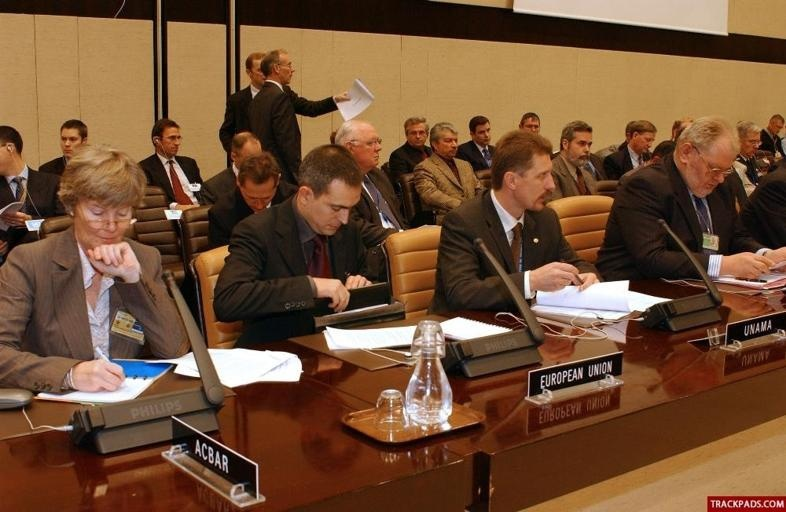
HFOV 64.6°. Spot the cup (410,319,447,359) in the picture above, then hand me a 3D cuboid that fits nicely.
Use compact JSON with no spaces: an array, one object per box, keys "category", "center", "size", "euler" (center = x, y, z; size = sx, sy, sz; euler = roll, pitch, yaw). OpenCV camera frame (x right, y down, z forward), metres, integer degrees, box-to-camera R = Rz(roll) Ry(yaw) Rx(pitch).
[{"category":"cup","center":[0.094,0.230,1.735],"size":[0.096,0.100,0.105],"euler":[0,0,0]}]

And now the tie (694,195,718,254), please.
[{"category":"tie","center":[1.799,-0.180,3.562],"size":[0.215,0.302,0.077],"euler":[-3,-5,-20]}]

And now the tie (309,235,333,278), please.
[{"category":"tie","center":[-0.349,0.000,2.971],"size":[0.110,0.196,0.057],"euler":[0,-2,-17]}]

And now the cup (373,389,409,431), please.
[{"category":"cup","center":[-0.011,0.430,1.735],"size":[0.094,0.089,0.099],"euler":[0,-2,0]}]

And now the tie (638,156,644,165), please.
[{"category":"tie","center":[3.393,-1.307,8.599],"size":[0.117,0.112,0.033],"euler":[-3,-11,-44]}]

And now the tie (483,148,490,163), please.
[{"category":"tie","center":[1.194,-1.285,7.986],"size":[0.124,0.169,0.044],"euler":[0,-14,-37]}]

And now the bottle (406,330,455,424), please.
[{"category":"bottle","center":[0.092,0.327,1.757],"size":[0.144,0.284,0.123],"euler":[-5,11,-4]}]

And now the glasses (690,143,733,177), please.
[{"category":"glasses","center":[1.720,-0.535,3.404],"size":[0.132,0.136,0.041],"euler":[-11,-33,-44]}]
